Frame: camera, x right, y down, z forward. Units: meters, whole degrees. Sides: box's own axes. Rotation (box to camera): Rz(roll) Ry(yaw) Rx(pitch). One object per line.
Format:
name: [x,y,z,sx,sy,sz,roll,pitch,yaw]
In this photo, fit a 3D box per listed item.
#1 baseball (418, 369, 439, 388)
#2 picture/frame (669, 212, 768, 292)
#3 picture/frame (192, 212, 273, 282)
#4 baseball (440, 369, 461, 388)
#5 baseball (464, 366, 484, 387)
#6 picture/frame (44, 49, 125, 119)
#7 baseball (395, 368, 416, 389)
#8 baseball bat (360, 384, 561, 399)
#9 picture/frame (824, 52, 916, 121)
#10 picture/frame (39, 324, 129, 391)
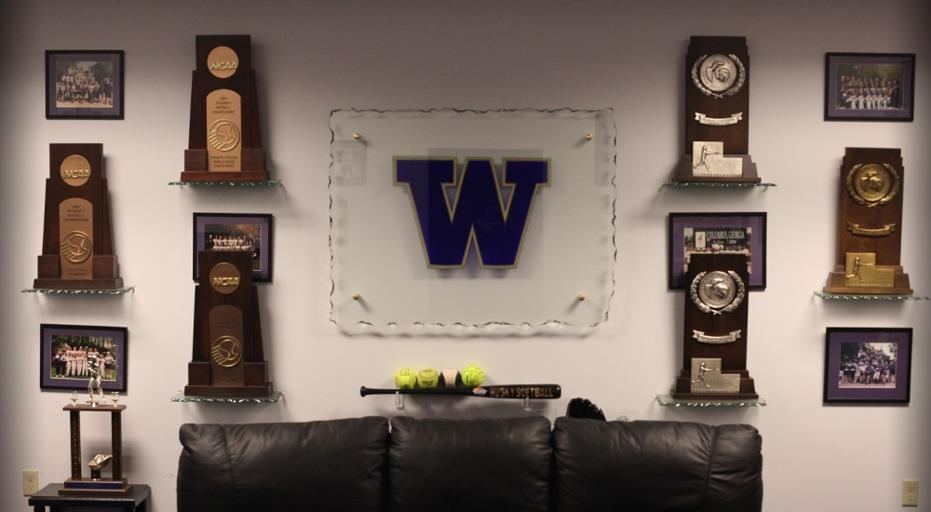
baseball: [-0.248,0.865,7.746,0.116,0.088,0.144,0,-7,-4]
picture/frame: [1.751,-0.042,7.694,0.614,0.462,0.025,0,-1,2]
picture/frame: [-1.609,-0.068,7.724,0.545,0.427,0.037,0,-1,0]
baseball: [-0.095,0.862,7.647,0.107,0.086,0.123,-1,5,-1]
baseball: [0.061,0.851,7.697,0.124,0.134,0.151,1,4,2]
picture/frame: [-2.629,-1.216,7.765,0.539,0.458,0.051,0,5,-1]
baseball: [-0.398,0.870,7.744,0.118,0.144,0.054,2,-12,-1]
baseball bat: [-0.004,0.970,7.729,1.374,0.107,0.118,-1,-2,-1]
picture/frame: [2.819,-1.186,7.726,0.533,0.388,0.023,0,1,2]
picture/frame: [-2.644,0.704,7.784,0.518,0.370,0.024,0,2,3]
